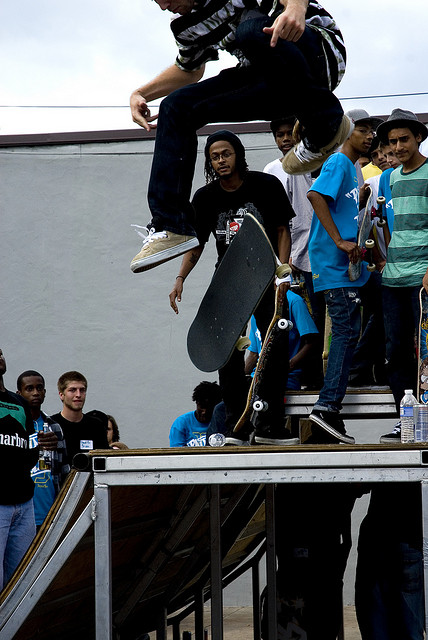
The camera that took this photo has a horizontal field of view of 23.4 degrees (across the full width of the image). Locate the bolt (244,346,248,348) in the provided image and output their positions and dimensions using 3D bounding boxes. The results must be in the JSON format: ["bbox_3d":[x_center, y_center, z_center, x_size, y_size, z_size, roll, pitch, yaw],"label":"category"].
[{"bbox_3d":[0.171,0.145,5.444,0.009,0.013,0.054,5,-9,-12],"label":"bolt"}]

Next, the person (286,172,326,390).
[{"bbox_3d":[0.634,-0.322,7.203,0.238,1.391,0.366,16,-20,-32],"label":"person"}]

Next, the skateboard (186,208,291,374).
[{"bbox_3d":[0.107,-0.103,5.406,0.188,1.009,0.389,6,33,-35],"label":"skateboard"}]

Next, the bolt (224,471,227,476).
[{"bbox_3d":[0.047,0.595,3.986,0.013,0.015,0.006,-1,10,7],"label":"bolt"}]

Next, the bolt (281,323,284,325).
[{"bbox_3d":[0.364,0.023,5.436,0.012,0.011,0.003,20,0,16],"label":"bolt"}]

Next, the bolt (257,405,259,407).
[{"bbox_3d":[0.228,0.445,5.324,0.017,0.010,0.004,-6,2,5],"label":"bolt"}]
